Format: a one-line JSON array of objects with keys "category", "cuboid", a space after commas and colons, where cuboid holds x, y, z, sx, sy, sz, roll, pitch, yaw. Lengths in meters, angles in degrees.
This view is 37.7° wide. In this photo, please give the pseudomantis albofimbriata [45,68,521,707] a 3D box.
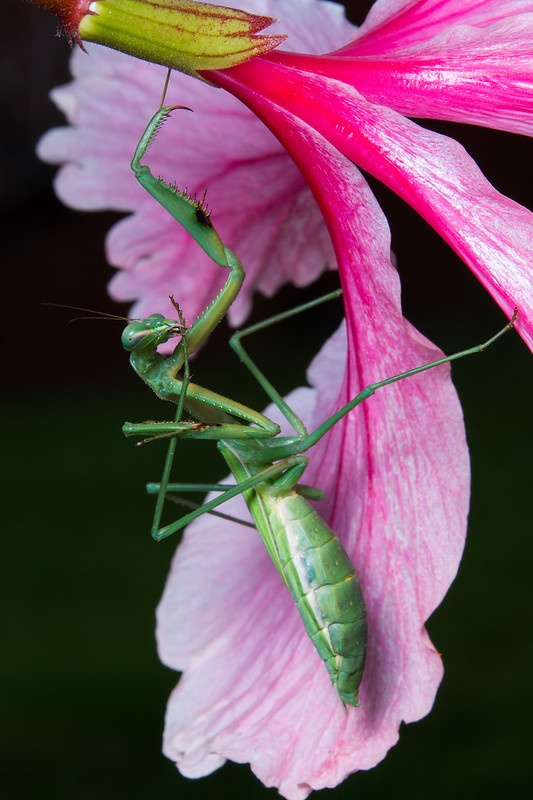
[{"category": "pseudomantis albofimbriata", "cuboid": [0.080, -0.071, 0.653, 0.387, 0.445, 0.381, 28, 37, 33]}]
